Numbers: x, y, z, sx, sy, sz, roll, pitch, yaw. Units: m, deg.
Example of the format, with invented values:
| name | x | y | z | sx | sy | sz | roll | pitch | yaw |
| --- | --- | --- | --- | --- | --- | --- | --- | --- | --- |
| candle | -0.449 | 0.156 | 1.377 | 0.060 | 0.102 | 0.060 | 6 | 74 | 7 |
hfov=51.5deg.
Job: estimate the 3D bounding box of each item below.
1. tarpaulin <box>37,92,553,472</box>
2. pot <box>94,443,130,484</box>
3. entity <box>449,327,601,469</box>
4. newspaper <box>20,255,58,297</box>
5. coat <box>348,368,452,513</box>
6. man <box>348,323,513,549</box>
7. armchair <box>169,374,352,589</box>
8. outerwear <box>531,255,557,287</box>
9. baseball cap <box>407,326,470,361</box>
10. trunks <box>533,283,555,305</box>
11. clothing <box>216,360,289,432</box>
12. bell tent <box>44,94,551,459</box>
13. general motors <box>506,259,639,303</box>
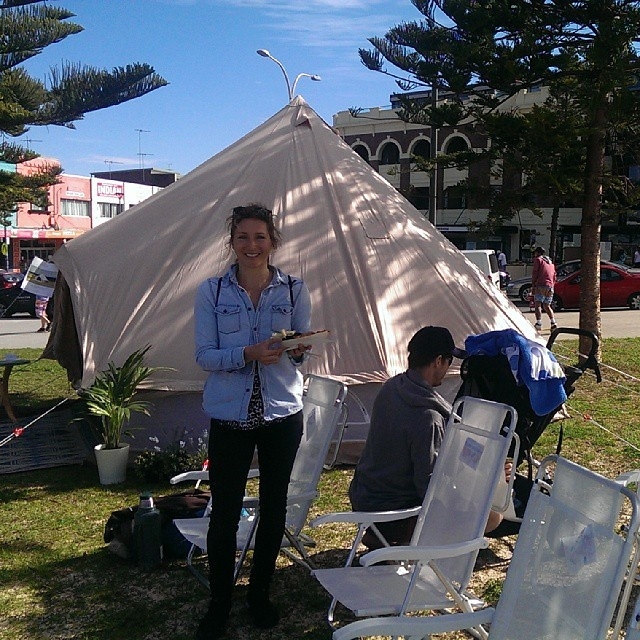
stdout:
| name | x | y | z | sx | sy | sz | roll | pitch | yaw |
| --- | --- | --- | --- | --- | --- | --- | --- | --- | --- |
| tarpaulin | -1.021 | -0.540 | 7.281 | 3.743 | 2.583 | 3.926 | -1 | 2 | -25 |
| pot | -1.750 | 1.210 | 5.557 | 0.293 | 0.294 | 0.270 | 0 | -1 | 0 |
| entity | 1.435 | 0.444 | 4.516 | 0.849 | 0.754 | 0.565 | 5 | -2 | 24 |
| newspaper | -3.346 | -0.512 | 7.945 | 0.377 | 0.420 | 0.038 | 16 | 1 | -39 |
| coat | 0.447 | 0.659 | 3.660 | 0.420 | 0.680 | 0.732 | 10 | 10 | -20 |
| man | 0.611 | 0.698 | 3.746 | 0.823 | 1.266 | 0.819 | 6 | 1 | -4 |
| armchair | -0.283 | 0.862 | 4.070 | 1.169 | 1.380 | 0.873 | 4 | -3 | -27 |
| outerwear | 5.125 | -1.138 | 15.273 | 0.640 | 0.980 | 0.651 | 2 | 8 | 16 |
| baseball cap | 0.641 | 0.119 | 3.636 | 0.258 | 0.154 | 0.163 | -6 | 8 | -14 |
| trunks | 5.019 | -0.519 | 15.158 | 0.556 | 0.566 | 0.348 | 1 | -4 | -28 |
| clothing | -0.332 | 0.365 | 3.092 | 0.225 | 0.341 | 0.081 | 0 | -2 | 19 |
| bell tent | -1.031 | -0.510 | 7.293 | 3.701 | 2.595 | 3.912 | -2 | 3 | -25 |
| general motors | 8.179 | -1.360 | 21.794 | 3.787 | 1.375 | 1.837 | 0 | 5 | 10 |
